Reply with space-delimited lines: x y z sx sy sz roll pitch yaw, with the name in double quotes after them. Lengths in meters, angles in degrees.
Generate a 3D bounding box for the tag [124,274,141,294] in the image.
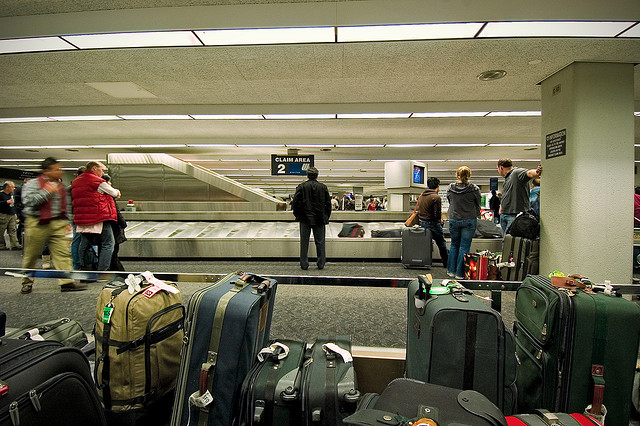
-1.495 0.539 3.086 0.154 0.117 0.032 -4 -13 -9 "tag"

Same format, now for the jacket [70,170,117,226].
-3.118 -0.221 5.387 0.528 0.766 0.267 0 2 -26 "jacket"

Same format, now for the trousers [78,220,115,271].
-3.145 0.441 5.506 0.447 0.713 0.239 0 2 -30 "trousers"

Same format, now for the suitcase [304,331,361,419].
0.091 1.175 3.040 0.501 0.625 0.763 1 7 5 "suitcase"

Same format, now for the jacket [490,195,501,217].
4.391 -0.191 9.713 0.141 0.500 0.485 1 1 16 "jacket"

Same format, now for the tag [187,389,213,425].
-0.868 1.353 2.775 0.118 0.140 0.049 7 -7 5 "tag"

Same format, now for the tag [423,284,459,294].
0.948 0.600 3.079 0.169 0.022 0.116 -4 6 -6 "tag"

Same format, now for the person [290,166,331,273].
-0.168 0.049 6.948 0.670 1.816 1.335 1 1 1 "person"

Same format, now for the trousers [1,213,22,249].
-7.046 0.388 8.889 0.369 0.814 0.549 0 2 -38 "trousers"

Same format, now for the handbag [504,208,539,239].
2.832 0.080 5.331 0.329 0.356 0.433 -6 -4 33 "handbag"

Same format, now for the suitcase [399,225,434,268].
1.700 0.586 6.854 0.552 0.746 0.288 1 1 10 "suitcase"

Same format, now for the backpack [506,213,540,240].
2.739 0.161 5.341 0.453 0.382 0.312 15 8 -39 "backpack"

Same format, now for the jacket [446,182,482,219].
2.224 -0.211 6.006 0.480 0.575 0.248 1 1 13 "jacket"

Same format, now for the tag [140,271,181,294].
-1.340 0.564 3.232 0.319 0.067 0.156 16 2 -6 "tag"

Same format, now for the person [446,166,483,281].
2.186 0.141 5.988 0.483 1.706 0.456 2 2 26 "person"

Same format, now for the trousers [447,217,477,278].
2.161 0.512 6.082 0.263 0.931 0.437 0 2 -28 "trousers"

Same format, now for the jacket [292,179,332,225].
-0.143 -0.205 6.622 0.642 0.766 0.248 1 1 -4 "jacket"

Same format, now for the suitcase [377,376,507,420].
0.812 1.239 2.559 0.796 0.206 0.269 1 1 16 "suitcase"

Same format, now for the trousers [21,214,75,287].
-3.547 0.483 5.187 0.847 0.919 0.400 4 -2 6 "trousers"

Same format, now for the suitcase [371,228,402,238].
1.302 0.378 7.671 0.568 0.172 0.200 1 1 5 "suitcase"

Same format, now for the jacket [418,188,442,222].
1.892 -0.153 6.735 0.460 0.563 0.346 1 1 29 "jacket"

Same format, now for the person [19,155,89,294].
-3.555 0.003 5.087 0.532 1.452 0.351 0 2 -30 "person"

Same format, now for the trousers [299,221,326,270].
-0.128 0.542 6.764 0.418 0.833 0.313 1 1 2 "trousers"

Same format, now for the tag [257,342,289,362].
-0.361 1.046 2.982 0.169 0.028 0.107 -12 29 -18 "tag"

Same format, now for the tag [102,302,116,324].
-1.658 0.772 3.093 0.105 0.139 0.037 9 -12 13 "tag"

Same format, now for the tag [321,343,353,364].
0.133 1.036 2.933 0.197 0.043 0.111 17 4 38 "tag"
